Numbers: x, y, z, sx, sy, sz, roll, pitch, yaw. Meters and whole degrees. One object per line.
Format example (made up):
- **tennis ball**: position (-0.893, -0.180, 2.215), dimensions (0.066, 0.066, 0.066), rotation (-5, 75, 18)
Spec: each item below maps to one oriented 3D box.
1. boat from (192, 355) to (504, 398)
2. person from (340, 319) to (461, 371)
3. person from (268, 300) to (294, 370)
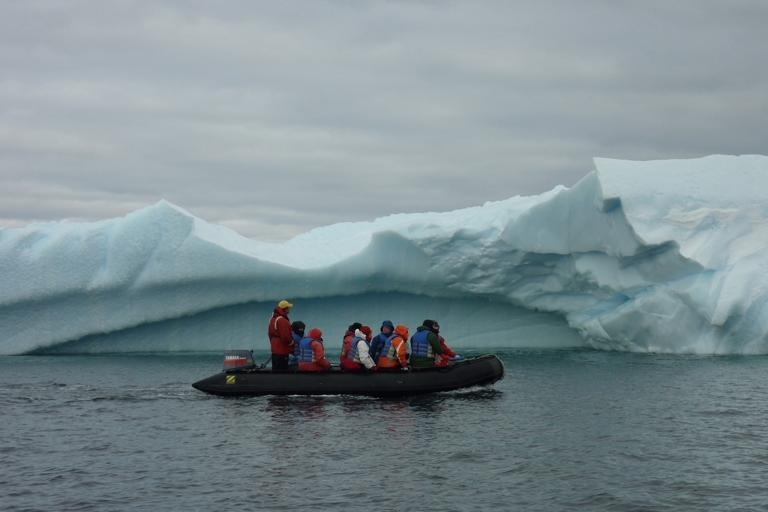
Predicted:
- **boat**: position (-0.860, 3.378, 27.046), dimensions (9.134, 0.884, 1.999), rotation (0, -12, 4)
- **person**: position (0.276, 2.368, 27.304), dimensions (2.908, 0.684, 1.561), rotation (-1, -4, -7)
- **person**: position (-2.774, 2.099, 26.838), dimensions (0.629, 1.832, 1.002), rotation (0, -4, -5)
